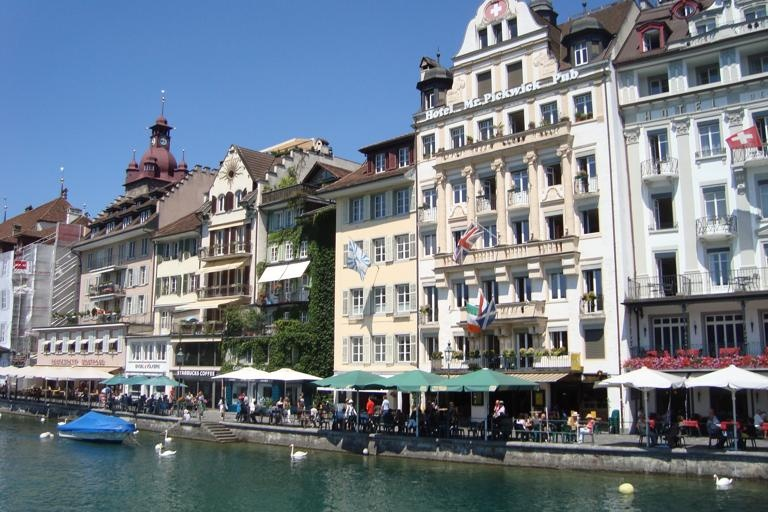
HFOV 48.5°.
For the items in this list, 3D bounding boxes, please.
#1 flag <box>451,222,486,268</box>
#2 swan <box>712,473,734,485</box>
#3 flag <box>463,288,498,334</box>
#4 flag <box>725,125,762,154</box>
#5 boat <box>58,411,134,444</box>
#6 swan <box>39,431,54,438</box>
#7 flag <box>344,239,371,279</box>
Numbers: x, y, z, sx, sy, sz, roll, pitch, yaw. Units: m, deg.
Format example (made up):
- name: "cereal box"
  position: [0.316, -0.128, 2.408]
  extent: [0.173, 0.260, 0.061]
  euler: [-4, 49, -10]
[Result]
- name: "flag"
  position: [7.024, -0.985, 72.610]
  extent: [0.965, 2.690, 3.280]
  euler: [23, -47, -28]
- name: "swan"
  position: [22.290, 14.524, 55.332]
  extent: [1.196, 0.486, 1.351]
  euler: [-1, 11, 21]
- name: "flag"
  position: [8.492, 5.193, 72.332]
  extent: [2.439, 3.350, 2.971]
  euler: [-3, 10, 7]
- name: "flag"
  position: [28.296, -9.009, 66.184]
  extent: [2.151, 1.878, 0.249]
  euler: [-7, 0, 39]
- name: "boat"
  position: [-24.681, 15.160, 74.854]
  extent: [5.197, 1.972, 3.201]
  euler: [1, -7, 25]
- name: "swan"
  position: [-30.992, 16.372, 78.121]
  extent: [0.639, 0.856, 1.977]
  euler: [-13, -14, -1]
- name: "flag"
  position: [-2.240, 0.285, 79.572]
  extent: [3.493, 4.405, 0.869]
  euler: [-3, -1, 34]
